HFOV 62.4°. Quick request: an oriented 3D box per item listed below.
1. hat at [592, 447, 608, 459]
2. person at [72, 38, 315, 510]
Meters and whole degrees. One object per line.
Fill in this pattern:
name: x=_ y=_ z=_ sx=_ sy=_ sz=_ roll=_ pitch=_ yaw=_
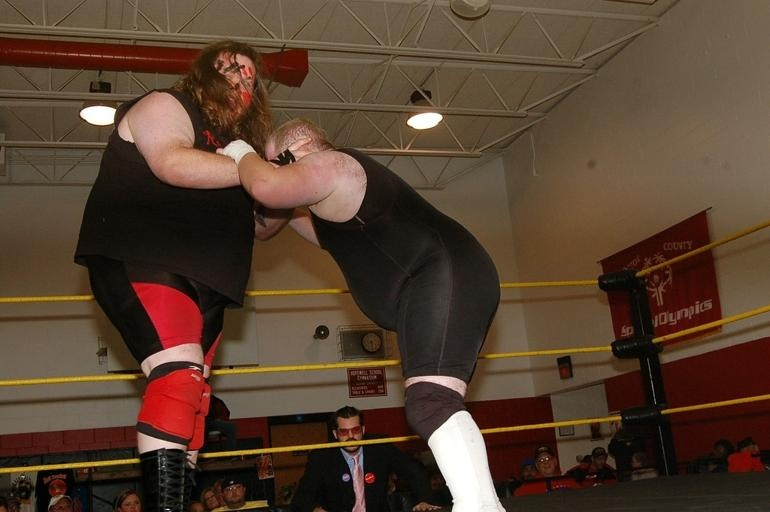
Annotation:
hat: x=3.169 y=2.921 z=9.370 sx=0.169 sy=0.122 sz=0.230 roll=1 pitch=-14 yaw=0
person: x=-1.083 y=0.022 z=3.313 sx=0.969 sy=2.466 sz=0.599 roll=3 pitch=-22 yaw=-20
